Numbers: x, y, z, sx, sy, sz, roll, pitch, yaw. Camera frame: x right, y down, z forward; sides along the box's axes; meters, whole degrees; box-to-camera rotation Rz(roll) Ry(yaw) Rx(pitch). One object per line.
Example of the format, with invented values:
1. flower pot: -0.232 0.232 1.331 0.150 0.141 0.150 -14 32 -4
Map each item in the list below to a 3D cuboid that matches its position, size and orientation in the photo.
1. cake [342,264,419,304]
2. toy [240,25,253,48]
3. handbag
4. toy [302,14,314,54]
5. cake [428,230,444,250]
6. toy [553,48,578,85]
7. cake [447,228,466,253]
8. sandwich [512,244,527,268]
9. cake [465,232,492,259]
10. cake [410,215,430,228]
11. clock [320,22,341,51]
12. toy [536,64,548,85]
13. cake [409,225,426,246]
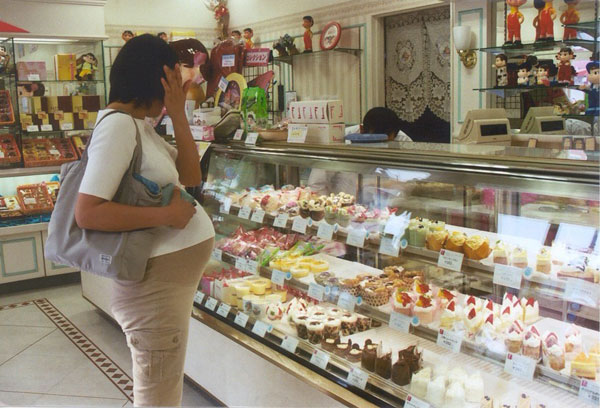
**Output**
1. cake: 0.464 0.432 2.369 0.274 0.084 0.230 -6 9 -2
2. toy: -0.904 -2.926 7.538 0.200 0.407 0.826 -2 13 -7
3. handbag: -0.868 -0.032 1.868 0.563 0.720 0.227 1 12 10
4. toy: 0.133 -2.676 6.748 0.162 0.589 0.377 -1 12 0
5. cake: 0.670 0.175 2.098 0.083 0.085 0.079 -1 -1 40
6. toy: 2.968 -1.537 4.764 0.192 0.399 0.328 6 14 30
7. cake: 0.746 0.177 2.053 0.091 0.077 0.076 4 14 22
8. sandwich: 0.981 0.233 1.902 0.064 0.078 0.051 6 14 30
9. cake: 0.822 0.201 1.987 0.117 0.103 0.054 4 13 20
10. cake: 0.608 0.083 2.170 0.058 0.021 0.059 -7 21 -8
11. clock: 0.444 -2.532 6.462 0.354 0.421 0.306 2 13 13
12. toy: 2.743 -1.450 4.811 0.119 0.223 0.146 6 14 29
13. cake: 0.591 0.158 2.200 0.080 0.095 0.080 -11 16 -28
